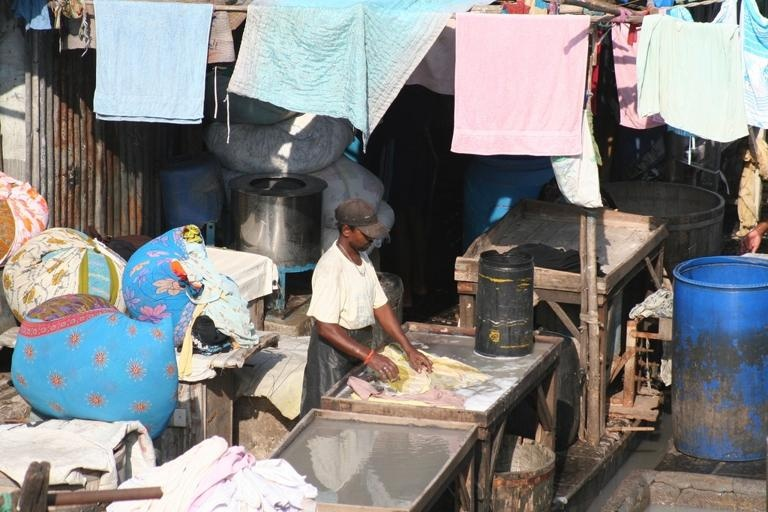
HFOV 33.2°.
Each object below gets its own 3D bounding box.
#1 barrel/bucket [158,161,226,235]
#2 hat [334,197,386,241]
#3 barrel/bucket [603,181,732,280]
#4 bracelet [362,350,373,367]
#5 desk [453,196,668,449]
[{"bbox_3d":[-2.066,-0.648,13.813,0.628,0.718,0.681,-2,11,0],"label":"barrel/bucket"},{"bbox_3d":[-0.169,-0.292,10.402,0.369,0.234,0.287,20,27,4],"label":"hat"},{"bbox_3d":[3.435,-0.102,15.007,1.158,0.939,1.237,0,15,0],"label":"barrel/bucket"},{"bbox_3d":[-0.129,0.822,10.295,0.037,0.083,0.107,16,-38,-8],"label":"bracelet"},{"bbox_3d":[1.702,0.954,13.164,1.869,2.390,2.818,10,21,27],"label":"desk"}]
